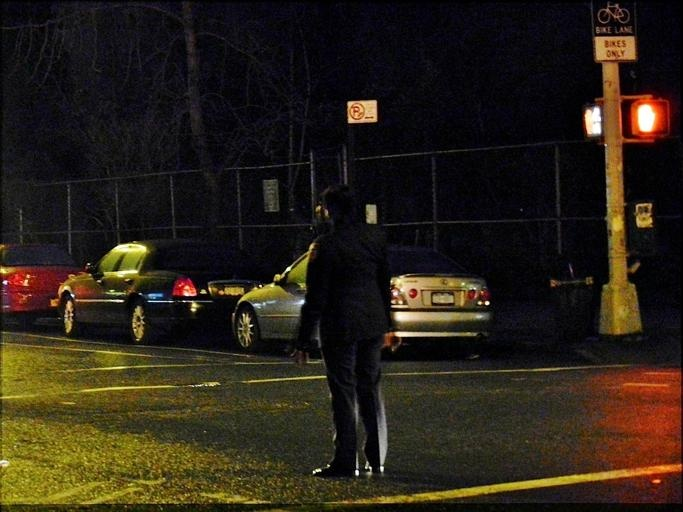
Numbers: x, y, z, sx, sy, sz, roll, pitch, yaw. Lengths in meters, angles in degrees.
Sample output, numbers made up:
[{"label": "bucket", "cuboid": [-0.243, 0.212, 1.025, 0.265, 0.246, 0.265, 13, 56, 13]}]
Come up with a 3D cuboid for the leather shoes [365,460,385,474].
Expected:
[{"label": "leather shoes", "cuboid": [0.275, 1.759, 6.862, 0.073, 0.103, 0.203, 0, 2, -25]}]

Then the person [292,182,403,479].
[{"label": "person", "cuboid": [0.058, 0.613, 6.698, 0.844, 2.354, 0.371, 1, -2, -33]}]
